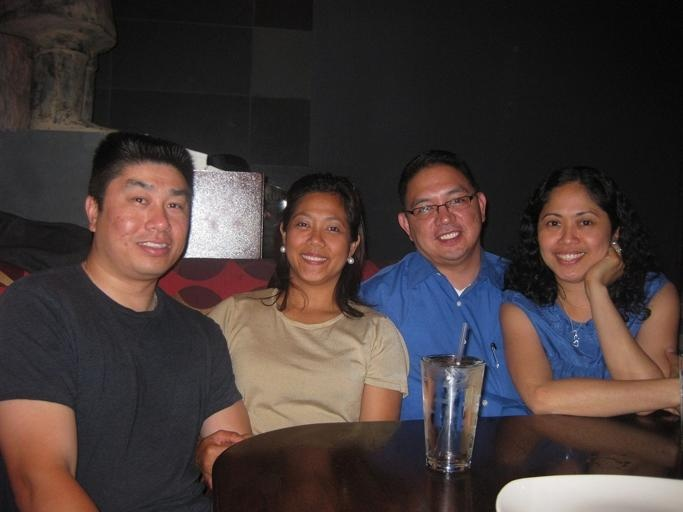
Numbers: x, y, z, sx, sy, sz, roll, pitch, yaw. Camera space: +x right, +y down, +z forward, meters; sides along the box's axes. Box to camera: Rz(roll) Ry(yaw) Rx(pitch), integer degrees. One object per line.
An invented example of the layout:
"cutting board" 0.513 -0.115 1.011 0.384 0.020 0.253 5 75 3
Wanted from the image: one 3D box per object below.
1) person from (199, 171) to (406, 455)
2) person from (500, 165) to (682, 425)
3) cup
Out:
"person" -0.130 0.299 2.403 0.851 1.199 0.660 5 5 -15
"person" 0.974 0.089 2.337 0.711 0.919 0.733 2 1 13
"cup" 0.304 0.424 1.710 0.168 0.295 0.177 2 1 0
